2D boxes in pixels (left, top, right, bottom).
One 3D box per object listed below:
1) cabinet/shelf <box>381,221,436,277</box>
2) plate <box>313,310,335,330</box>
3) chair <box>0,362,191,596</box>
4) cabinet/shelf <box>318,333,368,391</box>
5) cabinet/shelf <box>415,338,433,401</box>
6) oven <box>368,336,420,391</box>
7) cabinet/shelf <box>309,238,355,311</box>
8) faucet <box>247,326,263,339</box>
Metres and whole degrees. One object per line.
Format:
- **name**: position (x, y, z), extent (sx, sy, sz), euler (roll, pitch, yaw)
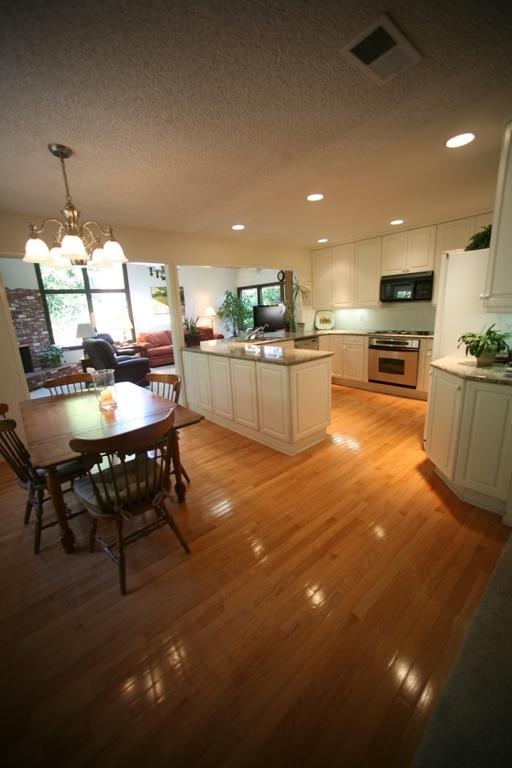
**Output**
- **cabinet/shelf**: position (1.586, -1.403, 4.772), extent (0.201, 0.393, 0.503), euler (-12, 18, -36)
- **plate**: position (0.931, -0.880, 6.351), extent (0.281, 0.251, 0.178), euler (-1, 14, 9)
- **chair**: position (-0.923, 0.392, 2.715), extent (0.865, 0.592, 1.115), euler (-14, 28, -29)
- **cabinet/shelf**: position (1.042, -0.349, 5.606), extent (0.157, 0.551, 0.781), euler (-11, 15, -23)
- **cabinet/shelf**: position (1.708, -0.155, 4.720), extent (0.095, 0.681, 0.267), euler (-6, 15, -6)
- **oven**: position (1.553, -0.247, 5.115), extent (0.560, 0.497, 0.378), euler (8, 11, 35)
- **cabinet/shelf**: position (0.966, -1.400, 5.791), extent (0.281, 0.720, 0.756), euler (-8, 13, -31)
- **faucet**: position (-0.011, -0.576, 5.157), extent (0.171, 0.133, 0.241), euler (-4, 13, -1)
